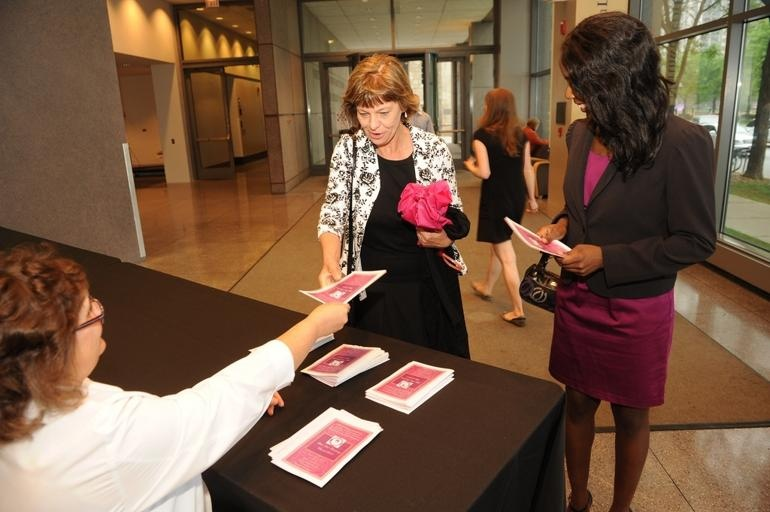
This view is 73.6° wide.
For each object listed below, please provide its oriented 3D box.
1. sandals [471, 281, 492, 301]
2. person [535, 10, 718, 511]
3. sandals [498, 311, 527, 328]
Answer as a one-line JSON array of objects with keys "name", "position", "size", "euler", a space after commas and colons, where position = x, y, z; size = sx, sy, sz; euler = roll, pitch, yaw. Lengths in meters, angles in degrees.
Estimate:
[{"name": "sandals", "position": [0.989, 0.345, 5.214], "size": [0.086, 0.110, 0.260], "euler": [-7, 24, -15]}, {"name": "person", "position": [1.151, 0.139, 2.431], "size": [0.669, 2.401, 0.448], "euler": [7, 21, 34]}, {"name": "sandals", "position": [1.161, 0.544, 4.587], "size": [0.105, 0.083, 0.204], "euler": [-3, 14, -19]}]
